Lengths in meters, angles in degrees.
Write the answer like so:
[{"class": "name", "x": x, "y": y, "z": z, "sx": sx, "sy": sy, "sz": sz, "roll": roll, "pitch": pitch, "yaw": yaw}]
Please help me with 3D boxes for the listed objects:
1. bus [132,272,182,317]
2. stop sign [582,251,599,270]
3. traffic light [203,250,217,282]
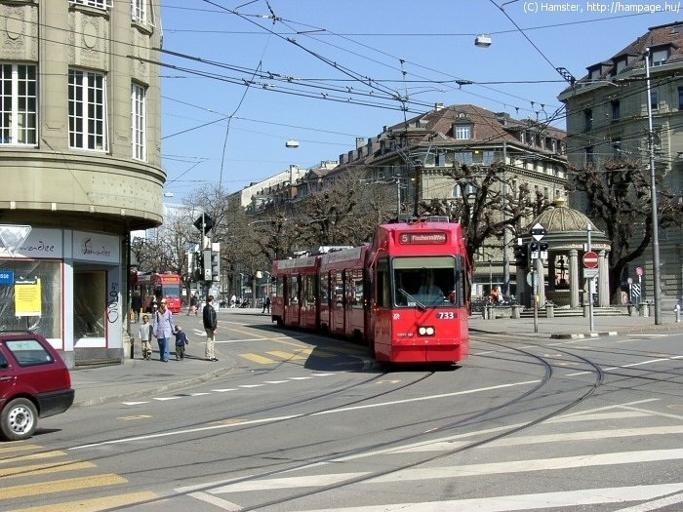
[{"class": "bus", "x": -13.177, "y": 2.743, "z": 69.872, "sx": 3.027, "sy": 3.986, "sz": 8.194, "roll": 0, "pitch": -3, "yaw": -24}, {"class": "stop sign", "x": 9.817, "y": 0.150, "z": 38.488, "sx": 0.500, "sy": 0.727, "sz": 1.160, "roll": -4, "pitch": -4, "yaw": 18}, {"class": "traffic light", "x": -4.461, "y": 0.297, "z": 33.125, "sx": 0.343, "sy": 1.065, "sz": 0.950, "roll": -4, "pitch": -3, "yaw": 26}]
